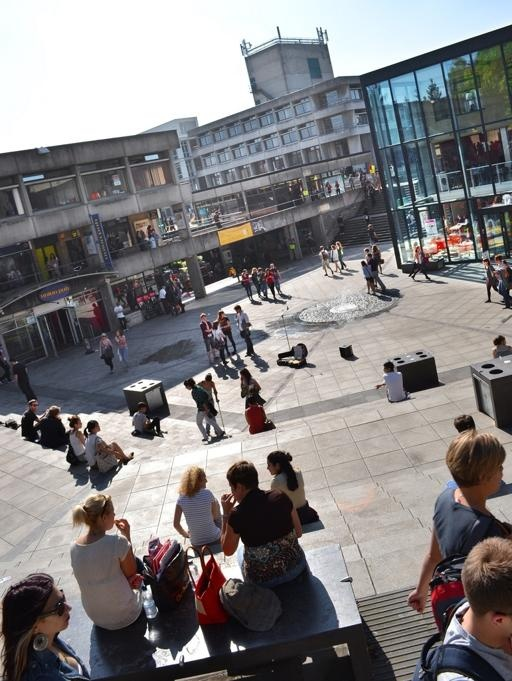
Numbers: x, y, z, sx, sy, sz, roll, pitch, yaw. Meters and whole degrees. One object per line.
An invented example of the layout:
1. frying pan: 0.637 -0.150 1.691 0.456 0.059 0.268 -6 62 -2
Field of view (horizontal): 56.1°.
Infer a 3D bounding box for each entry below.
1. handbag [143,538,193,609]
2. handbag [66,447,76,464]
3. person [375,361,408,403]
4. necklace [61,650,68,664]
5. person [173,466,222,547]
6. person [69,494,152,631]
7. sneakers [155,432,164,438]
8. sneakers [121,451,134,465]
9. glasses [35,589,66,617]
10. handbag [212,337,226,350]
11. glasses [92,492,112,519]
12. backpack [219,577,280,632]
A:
1. handbag: -0.681 1.799 3.688 0.256 0.424 0.442 -11 2 7
2. handbag: -4.580 2.899 11.979 0.205 0.412 0.183 -23 13 -29
3. person: 3.629 1.143 12.848 0.468 1.419 0.772 -10 50 19
4. necklace: -1.070 1.785 2.705 0.024 0.062 0.066 -21 -27 -23
5. person: -0.750 2.067 5.906 0.565 0.780 0.775 -19 11 -12
6. person: -1.040 1.619 3.654 0.500 0.888 0.729 -14 -12 11
7. sneakers: -2.862 2.853 14.527 0.229 0.108 0.498 -19 11 -14
8. sneakers: -3.201 2.978 12.068 0.122 0.168 0.397 6 18 4
9. glasses: -1.043 1.369 2.488 0.095 0.028 0.092 -22 11 0
10. handbag: -1.563 0.142 20.377 0.400 0.537 0.541 -4 5 6
11. glasses: -1.057 1.170 3.398 0.100 0.126 0.126 2 11 10
12. backpack: -0.057 1.715 3.179 0.448 0.181 0.344 4 15 22
